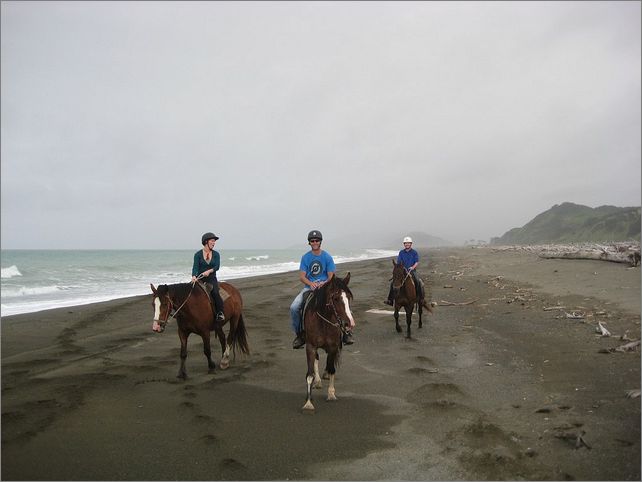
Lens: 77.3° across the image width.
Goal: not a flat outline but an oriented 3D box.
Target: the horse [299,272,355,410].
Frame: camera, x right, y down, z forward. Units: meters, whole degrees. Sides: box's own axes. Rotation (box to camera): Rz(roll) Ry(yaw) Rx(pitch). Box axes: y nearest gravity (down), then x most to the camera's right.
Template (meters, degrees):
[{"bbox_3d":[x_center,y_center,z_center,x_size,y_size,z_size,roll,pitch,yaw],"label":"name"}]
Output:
[{"bbox_3d":[0.144,2.079,8.450,1.066,2.644,1.371,-2,2,4],"label":"horse"}]

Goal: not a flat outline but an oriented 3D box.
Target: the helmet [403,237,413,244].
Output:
[{"bbox_3d":[2.880,-0.008,13.261,0.183,0.213,0.253,1,-9,8],"label":"helmet"}]

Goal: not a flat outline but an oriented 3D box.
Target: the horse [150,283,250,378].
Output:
[{"bbox_3d":[-3.102,2.362,10.765,1.000,2.444,3.879,-7,-8,19],"label":"horse"}]
